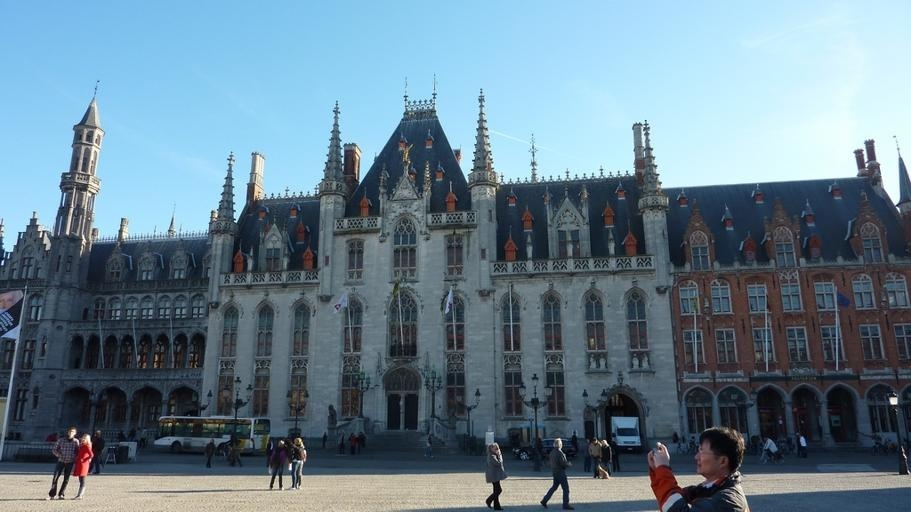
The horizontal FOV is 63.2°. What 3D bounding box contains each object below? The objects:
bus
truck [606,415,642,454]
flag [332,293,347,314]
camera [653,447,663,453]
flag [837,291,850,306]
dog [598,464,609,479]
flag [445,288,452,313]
[{"bbox_3d":[-25.592,18.596,77.538,11.033,3.919,2.491,-5,-14,13],"label":"bus"},{"bbox_3d":[17.068,17.491,75.232,2.997,2.971,5.942,-3,4,2],"label":"truck"},{"bbox_3d":[-12.741,5.249,80.879,0.782,2.114,2.514,-1,-1,-39],"label":"flag"},{"bbox_3d":[11.008,10.545,40.351,0.371,0.305,0.102,7,5,8],"label":"camera"},{"bbox_3d":[39.880,4.319,76.287,1.461,1.667,0.973,11,-18,-43],"label":"flag"},{"bbox_3d":[11.860,17.358,59.686,0.767,1.047,1.169,-5,-13,11],"label":"dog"},{"bbox_3d":[-0.699,4.689,79.513,0.942,2.613,2.052,-2,-13,-1],"label":"flag"}]
